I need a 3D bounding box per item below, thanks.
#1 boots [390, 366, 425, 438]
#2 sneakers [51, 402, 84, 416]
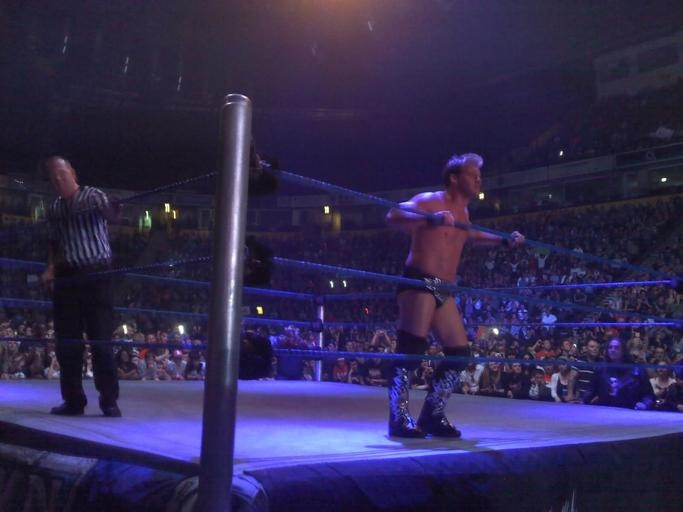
[{"bbox_3d":[0.374,0.838,3.779,0.218,0.370,0.308,2,-4,-4],"label":"boots"},{"bbox_3d":[-1.636,0.900,3.867,0.186,0.069,0.076,3,-5,-16],"label":"sneakers"}]
